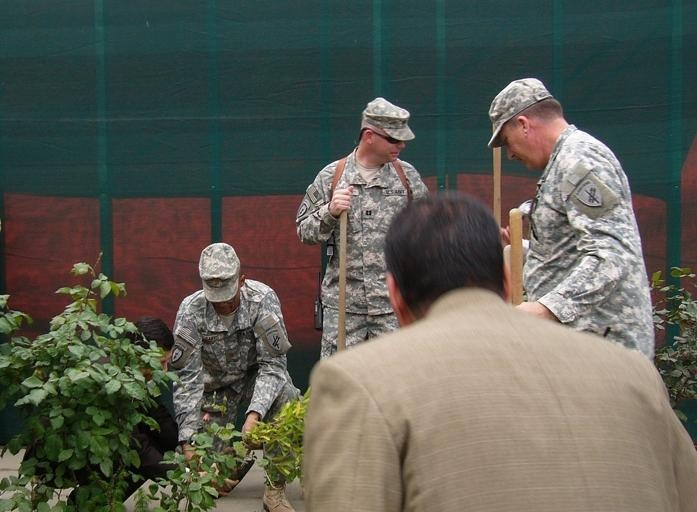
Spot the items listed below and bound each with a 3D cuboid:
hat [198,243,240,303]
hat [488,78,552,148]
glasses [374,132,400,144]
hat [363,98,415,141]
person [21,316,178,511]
[{"bbox_3d":[-0.775,0.088,5.631,0.235,0.391,0.241,1,-20,-8],"label":"hat"},{"bbox_3d":[0.777,-0.711,4.369,0.332,0.163,0.243,-18,1,30],"label":"hat"},{"bbox_3d":[0.240,-0.702,5.517,0.080,0.024,0.081,31,15,30],"label":"glasses"},{"bbox_3d":[0.237,-0.810,5.576,0.222,0.138,0.313,-14,9,-14],"label":"hat"},{"bbox_3d":[-1.168,0.756,5.002,0.505,1.081,1.040,1,-20,-10],"label":"person"}]
